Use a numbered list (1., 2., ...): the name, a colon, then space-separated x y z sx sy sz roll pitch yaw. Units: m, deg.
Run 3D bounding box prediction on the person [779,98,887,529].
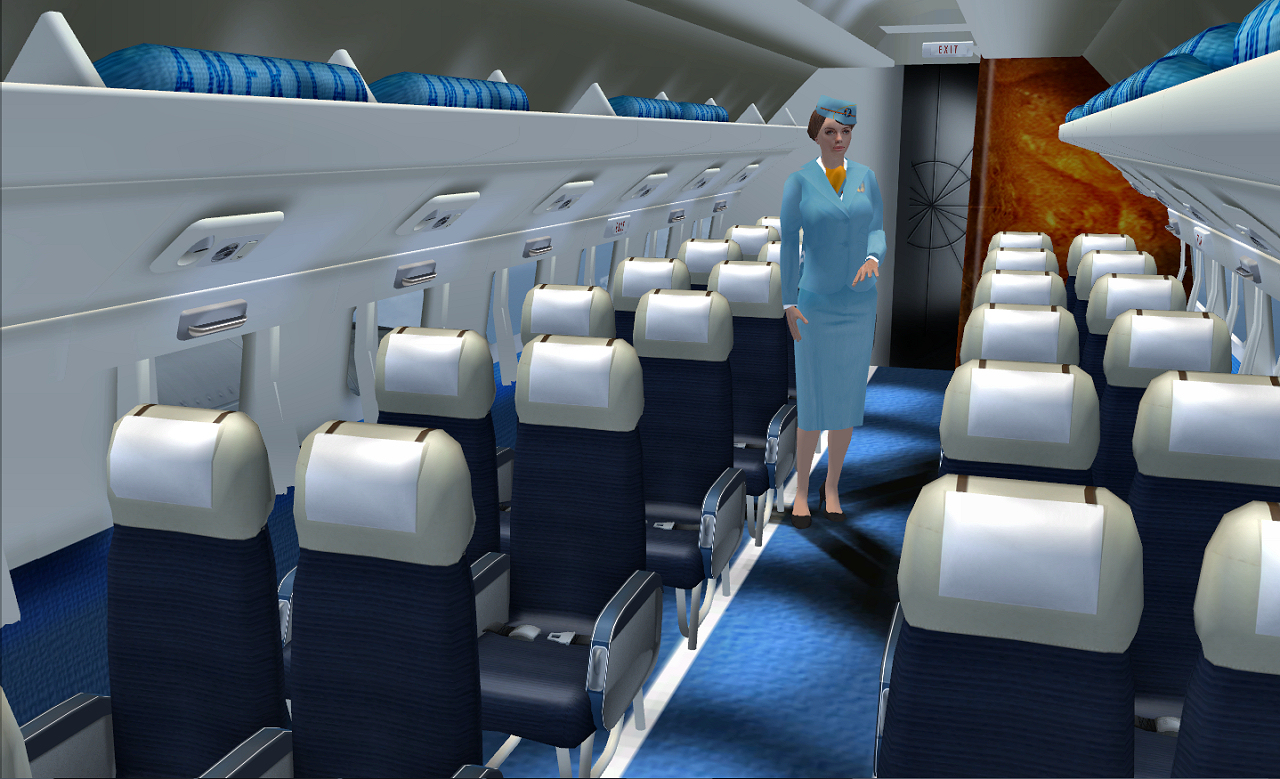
1. person: 1.237 -0.406 5.728 0.625 2.725 0.717 2 10 18
